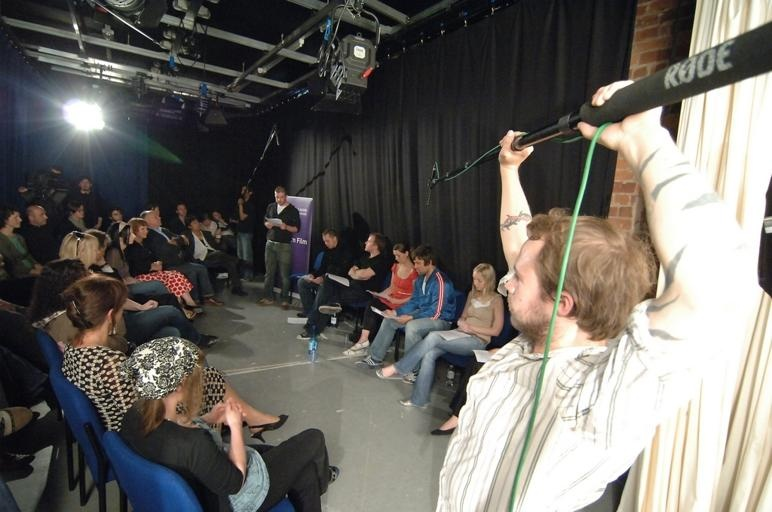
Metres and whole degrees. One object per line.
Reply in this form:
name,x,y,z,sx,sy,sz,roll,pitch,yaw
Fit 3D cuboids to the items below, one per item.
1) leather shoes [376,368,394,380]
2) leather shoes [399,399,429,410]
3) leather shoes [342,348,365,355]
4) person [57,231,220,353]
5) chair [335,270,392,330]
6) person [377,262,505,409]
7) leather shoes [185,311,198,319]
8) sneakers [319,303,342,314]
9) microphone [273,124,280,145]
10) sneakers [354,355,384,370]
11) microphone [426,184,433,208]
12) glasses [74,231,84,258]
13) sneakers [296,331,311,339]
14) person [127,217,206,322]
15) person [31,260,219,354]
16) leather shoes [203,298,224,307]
leather shoes,0.010,1.134,5.192,0.190,0.079,0.080,11,-9,-27
leather shoes,0.248,1.297,4.753,0.264,0.062,0.099,5,9,5
leather shoes,-0.350,1.006,5.711,0.165,0.049,0.075,4,-6,-30
person,-2.212,0.421,5.192,1.374,0.830,0.524,9,32,20
chair,-0.247,0.489,6.406,0.655,0.888,0.613,4,2,-44
person,0.501,0.705,4.920,1.099,1.303,0.561,0,6,-21
leather shoes,-2.347,0.706,6.466,0.111,0.042,0.117,7,-5,-39
sneakers,-0.606,0.579,5.835,0.243,0.094,0.171,-2,16,6
microphone,-1.766,-1.953,8.730,0.040,0.323,0.187,-1,11,-29
sneakers,-0.175,1.078,5.454,0.284,0.112,0.126,8,-12,-24
microphone,0.455,-0.631,5.730,0.057,0.214,0.064,5,13,-6
glasses,-2.866,-0.117,5.021,0.049,0.194,0.138,5,5,-13
sneakers,-0.921,0.906,6.129,0.182,0.076,0.066,7,-5,-27
person,-2.754,0.185,6.660,0.964,1.205,0.431,4,22,-23
person,-2.287,0.440,4.677,0.851,0.872,0.342,-15,50,-40
leather shoes,-2.338,0.628,7.324,0.272,0.117,0.096,0,7,-15
